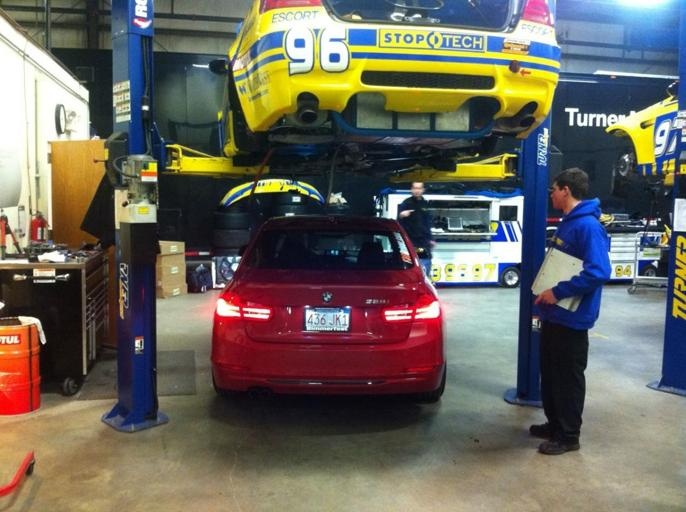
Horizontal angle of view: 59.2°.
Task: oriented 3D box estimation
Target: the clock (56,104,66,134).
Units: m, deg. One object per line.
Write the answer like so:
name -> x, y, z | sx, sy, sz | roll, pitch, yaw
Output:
clock -> -4.575, -2.200, 9.755 | 0.148, 0.475, 0.489 | -3, 9, -25

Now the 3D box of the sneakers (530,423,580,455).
sneakers -> 1.875, 1.575, 5.175 | 0.453, 0.304, 0.168 | 4, 4, 5

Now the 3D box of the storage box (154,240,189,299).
storage box -> -3.079, 0.285, 10.793 | 0.582, 1.019, 0.994 | -1, 4, -4

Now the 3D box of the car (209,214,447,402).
car -> -0.130, 0.311, 6.907 | 2.273, 1.687, 3.830 | 1, 8, 2

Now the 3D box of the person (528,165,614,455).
person -> 1.917, 0.453, 5.126 | 0.563, 2.352, 0.555 | 1, 8, 6

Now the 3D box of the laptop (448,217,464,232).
laptop -> 2.371, -0.657, 12.693 | 0.274, 0.293, 0.039 | 6, -33, -2
